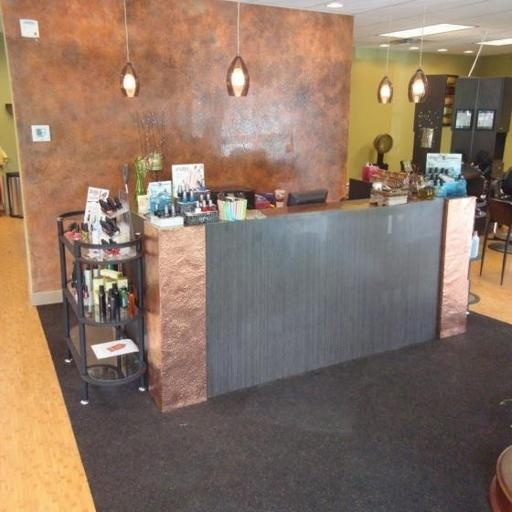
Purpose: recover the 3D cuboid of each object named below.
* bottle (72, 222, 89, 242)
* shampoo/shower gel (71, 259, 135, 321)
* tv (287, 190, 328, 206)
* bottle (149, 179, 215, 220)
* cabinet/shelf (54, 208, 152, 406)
[{"bbox_3d":[-1.232,-0.153,3.306,0.091,0.130,0.282,-4,15,-26],"label":"bottle"},{"bbox_3d":[-1.046,0.265,3.239,0.443,0.209,0.351,24,24,34],"label":"shampoo/shower gel"},{"bbox_3d":[0.432,-0.455,3.805,0.459,0.104,0.145,-9,17,-33],"label":"tv"},{"bbox_3d":[-0.518,-0.372,3.193,0.436,0.237,0.553,-6,15,-23],"label":"bottle"},{"bbox_3d":[-1.045,0.397,3.292,0.386,0.942,1.048,-6,20,-24],"label":"cabinet/shelf"}]
